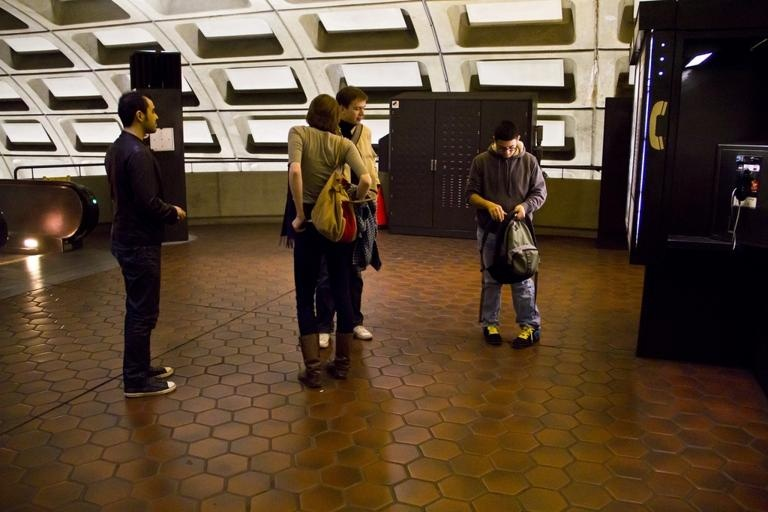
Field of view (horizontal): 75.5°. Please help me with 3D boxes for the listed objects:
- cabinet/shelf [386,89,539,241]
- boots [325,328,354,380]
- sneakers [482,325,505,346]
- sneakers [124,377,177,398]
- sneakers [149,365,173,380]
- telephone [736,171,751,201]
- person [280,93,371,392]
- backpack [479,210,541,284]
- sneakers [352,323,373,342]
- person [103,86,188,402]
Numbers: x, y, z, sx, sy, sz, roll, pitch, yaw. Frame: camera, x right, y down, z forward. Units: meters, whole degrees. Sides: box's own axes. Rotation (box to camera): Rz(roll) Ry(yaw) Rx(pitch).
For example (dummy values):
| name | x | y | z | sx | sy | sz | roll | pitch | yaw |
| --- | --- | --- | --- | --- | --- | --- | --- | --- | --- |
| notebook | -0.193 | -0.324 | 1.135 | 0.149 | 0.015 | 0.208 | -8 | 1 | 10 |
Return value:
| name | x | y | z | sx | sy | sz | roll | pitch | yaw |
| --- | --- | --- | --- | --- | --- | --- | --- | --- | --- |
| cabinet/shelf | 1.335 | -1.710 | 8.918 | 3.268 | 2.960 | 1.182 | 3 | 7 | 20 |
| boots | -0.420 | 0.918 | 4.651 | 0.262 | 0.477 | 0.462 | 0 | 16 | -9 |
| sneakers | 1.200 | 0.871 | 5.417 | 0.120 | 0.111 | 0.298 | -3 | 8 | -1 |
| sneakers | -2.074 | 1.159 | 4.396 | 0.431 | 0.161 | 0.167 | -2 | 10 | -17 |
| sneakers | -2.104 | 1.091 | 4.636 | 0.227 | 0.076 | 0.081 | -3 | 18 | -16 |
| telephone | 3.088 | -0.601 | 4.229 | 0.048 | 0.257 | 0.123 | -10 | 18 | -36 |
| person | -0.499 | -0.104 | 4.419 | 0.650 | 2.539 | 0.448 | -2 | 14 | -10 |
| backpack | 1.338 | -0.083 | 5.229 | 0.529 | 0.688 | 0.456 | -4 | 4 | -43 |
| sneakers | -0.267 | 0.848 | 5.561 | 0.139 | 0.109 | 0.277 | -13 | 17 | -42 |
| person | -2.076 | -0.080 | 4.287 | 0.623 | 2.562 | 0.501 | -6 | 15 | -23 |
